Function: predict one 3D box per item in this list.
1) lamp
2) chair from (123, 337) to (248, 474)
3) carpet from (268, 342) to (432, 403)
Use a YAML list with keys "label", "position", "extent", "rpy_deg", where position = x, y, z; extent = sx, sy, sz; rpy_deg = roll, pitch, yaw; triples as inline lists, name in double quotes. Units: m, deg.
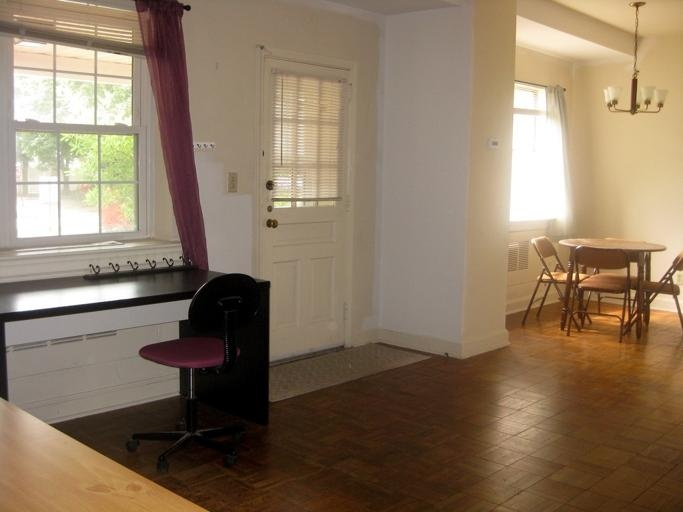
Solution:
- label: "lamp"
  position: [3.714, -2.312, 6.285]
  extent: [0.694, 1.296, 2.221]
  rpy_deg: [5, 8, 27]
- label: "chair"
  position: [-0.911, 0.858, 3.129]
  extent: [0.715, 0.638, 0.703]
  rpy_deg: [1, -3, -33]
- label: "carpet"
  position: [-0.065, 0.990, 4.584]
  extent: [1.739, 0.038, 0.723]
  rpy_deg: [-5, 9, -39]
